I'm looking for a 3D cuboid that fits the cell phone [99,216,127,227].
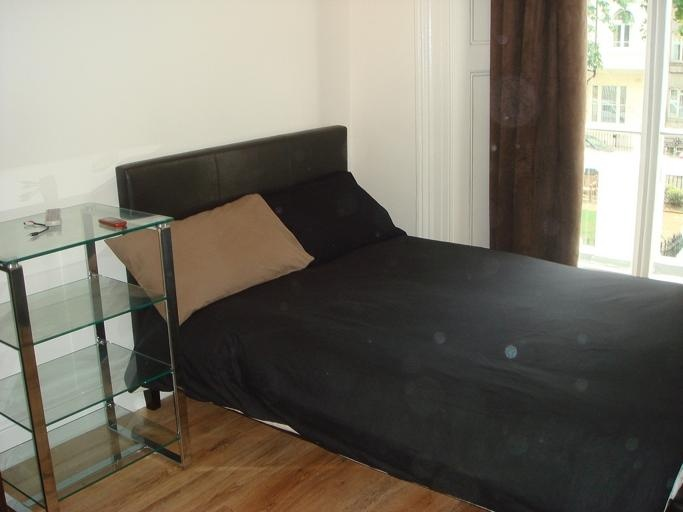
[{"bbox_3d":[-0.949,-0.137,2.279,0.146,0.029,0.075,7,22,37],"label":"cell phone"}]
